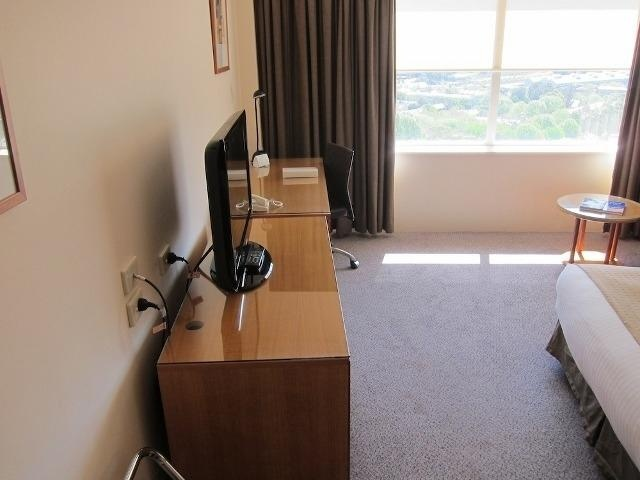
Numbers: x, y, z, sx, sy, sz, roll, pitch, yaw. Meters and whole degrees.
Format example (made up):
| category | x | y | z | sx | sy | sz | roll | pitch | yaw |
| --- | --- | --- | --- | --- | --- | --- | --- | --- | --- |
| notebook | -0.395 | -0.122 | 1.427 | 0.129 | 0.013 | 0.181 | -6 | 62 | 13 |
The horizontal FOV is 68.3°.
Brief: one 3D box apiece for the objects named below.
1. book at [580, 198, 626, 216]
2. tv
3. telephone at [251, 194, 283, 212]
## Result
| category | x | y | z | sx | sy | sz | roll | pitch | yaw |
| --- | --- | --- | --- | --- | --- | --- | --- | --- | --- |
| book | 2.220 | -0.265 | 3.724 | 0.325 | 0.033 | 0.301 | 8 | 24 | 22 |
| tv | -0.390 | -0.177 | 2.205 | 0.316 | 0.697 | 0.772 | -7 | 22 | -14 |
| telephone | -0.328 | -0.229 | 2.999 | 0.152 | 0.061 | 0.115 | 1 | 19 | -3 |
